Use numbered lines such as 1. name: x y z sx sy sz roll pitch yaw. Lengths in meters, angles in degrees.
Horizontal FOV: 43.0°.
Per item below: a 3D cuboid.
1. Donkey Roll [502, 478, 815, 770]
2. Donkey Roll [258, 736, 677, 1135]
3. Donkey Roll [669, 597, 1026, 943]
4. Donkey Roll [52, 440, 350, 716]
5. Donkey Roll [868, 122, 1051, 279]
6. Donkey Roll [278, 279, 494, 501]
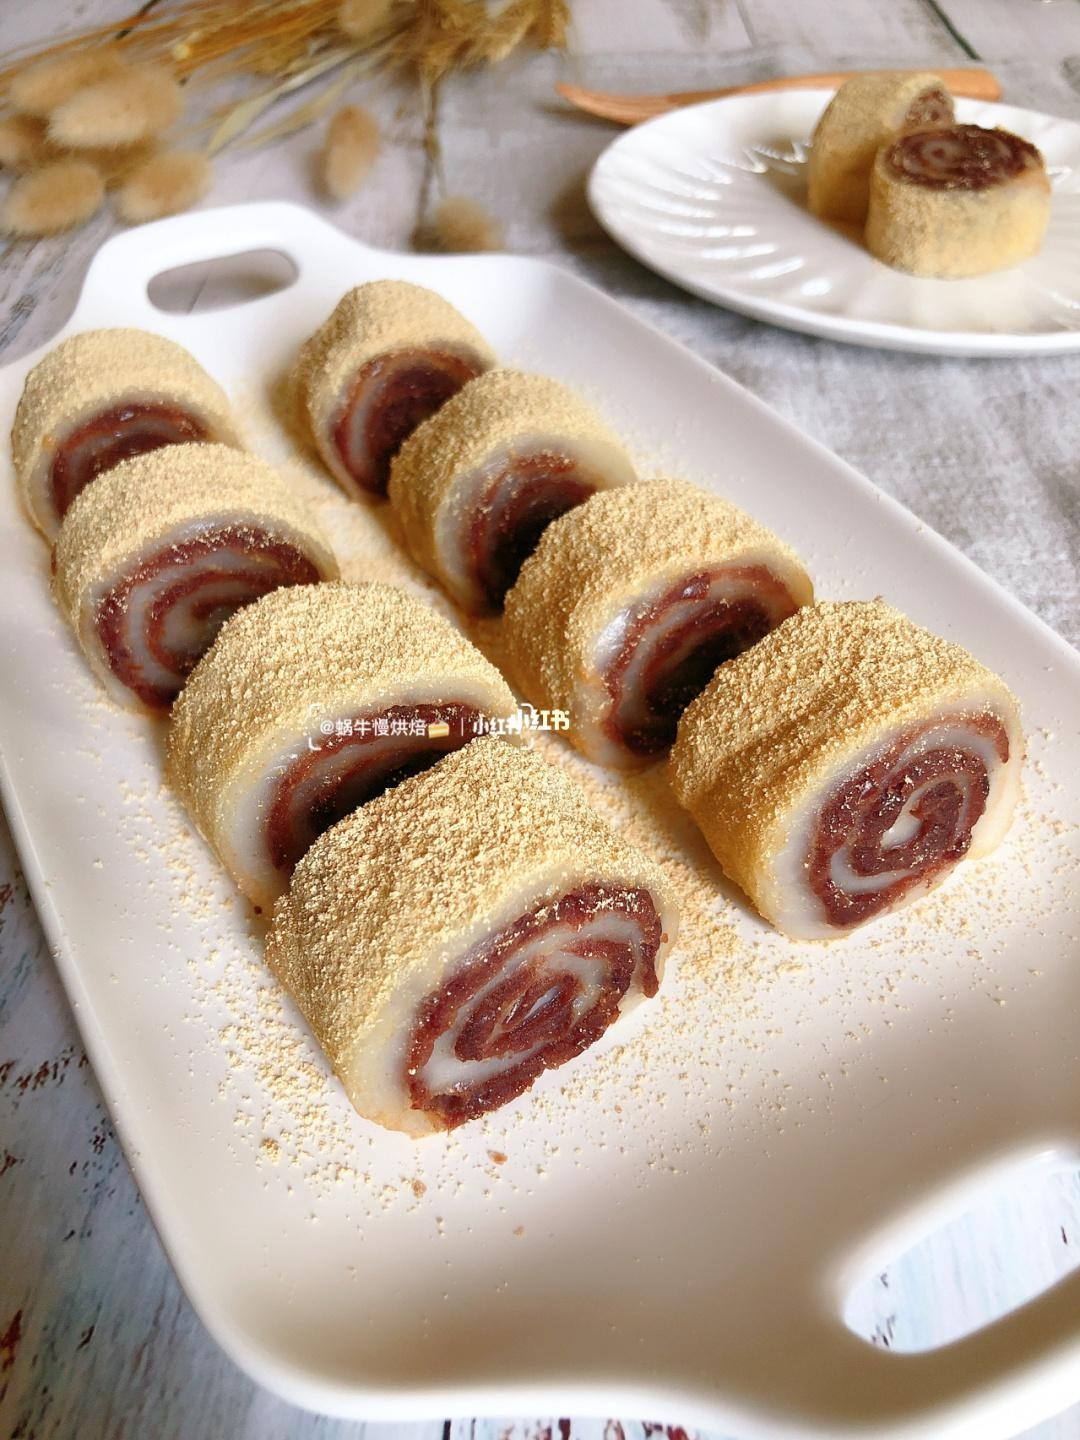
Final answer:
1. Donkey Roll: 0.104 -0.098 1.645 0.365 0.263 0.260 -21 28 -32
2. Donkey Roll: -0.086 0.257 1.411 0.440 0.300 0.314 -23 44 -24
3. Donkey Roll: 0.319 0.038 1.446 0.332 0.235 0.243 -23 42 -10
4. Donkey Roll: -0.406 -0.152 1.578 0.339 0.289 0.178 -3 36 -34
5. Donkey Roll: 0.686 -0.835 2.308 0.287 0.144 0.271 -4 51 5
6. Donkey Roll: -0.146 -0.417 1.968 0.329 0.254 0.273 8 6 40
